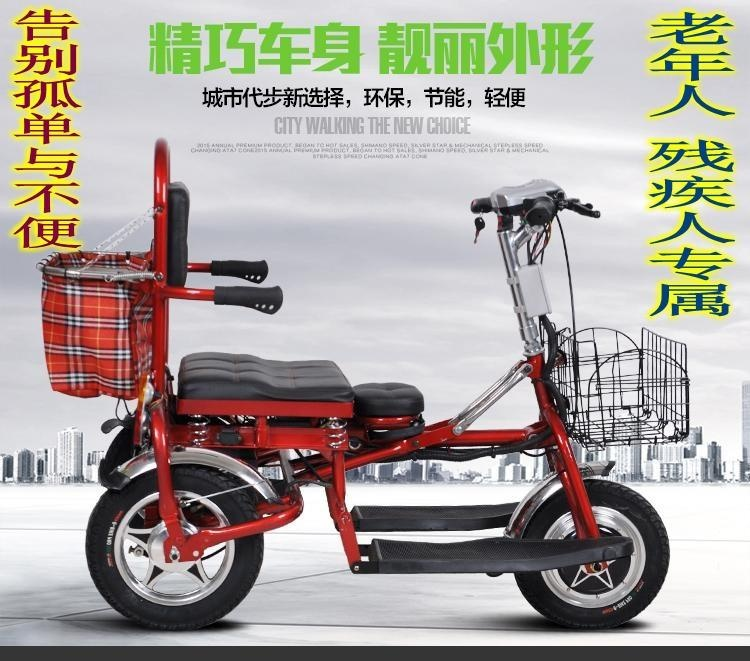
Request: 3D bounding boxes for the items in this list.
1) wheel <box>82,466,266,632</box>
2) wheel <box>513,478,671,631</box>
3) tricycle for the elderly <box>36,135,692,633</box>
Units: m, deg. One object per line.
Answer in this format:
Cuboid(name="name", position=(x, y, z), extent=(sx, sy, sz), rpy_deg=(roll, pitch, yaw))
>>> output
Cuboid(name="wheel", position=(-0.529, 0.601, 2.659), extent=(0.463, 0.485, 0.487), rpy_deg=(0, 2, 0))
Cuboid(name="wheel", position=(0.595, 0.635, 2.542), extent=(0.690, 0.460, 0.092), rpy_deg=(-2, 1, 1))
Cuboid(name="tricycle for the elderly", position=(-0.037, 0.266, 2.883), extent=(2.229, 1.189, 0.847), rpy_deg=(4, -24, -29))
